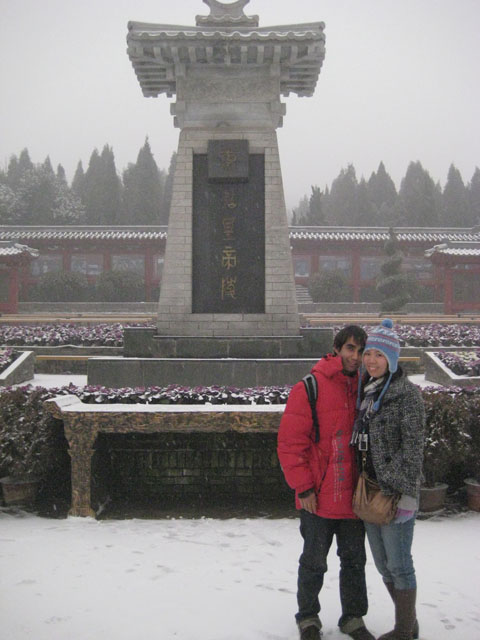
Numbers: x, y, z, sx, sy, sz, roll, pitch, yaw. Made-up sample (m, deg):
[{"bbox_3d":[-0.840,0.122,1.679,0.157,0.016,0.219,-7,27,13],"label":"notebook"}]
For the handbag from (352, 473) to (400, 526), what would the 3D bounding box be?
[{"bbox_3d":[0.750,0.974,5.590,0.234,0.328,0.173,11,7,26],"label":"handbag"}]
